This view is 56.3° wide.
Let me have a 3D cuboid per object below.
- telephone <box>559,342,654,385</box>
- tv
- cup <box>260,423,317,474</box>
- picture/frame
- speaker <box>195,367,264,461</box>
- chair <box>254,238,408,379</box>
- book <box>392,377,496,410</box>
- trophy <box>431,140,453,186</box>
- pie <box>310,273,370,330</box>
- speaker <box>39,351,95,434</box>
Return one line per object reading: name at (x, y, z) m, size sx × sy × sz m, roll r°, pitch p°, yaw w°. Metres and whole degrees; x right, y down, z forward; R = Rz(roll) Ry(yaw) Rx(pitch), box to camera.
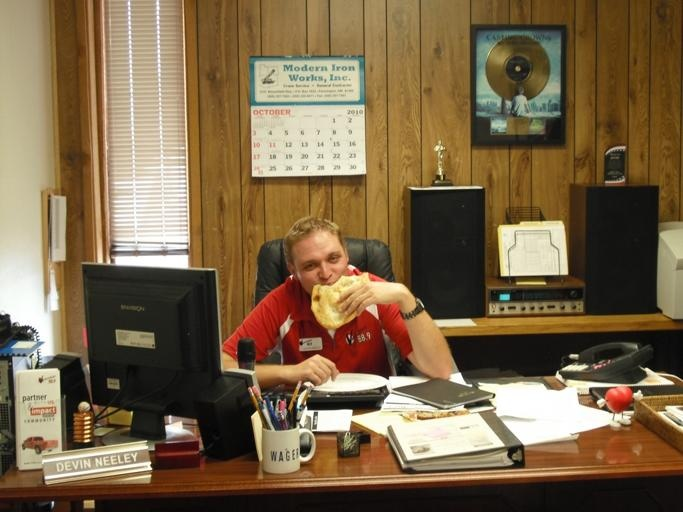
telephone at (1.029, 0.419, 2.507) m, size 0.248 × 0.121 × 0.203 m, roll -1°, pitch 1°, yaw 20°
tv at (-0.639, 0.350, 2.170) m, size 0.497 × 0.629 × 0.224 m, roll 3°, pitch 9°, yaw 10°
cup at (-0.168, 0.601, 1.989) m, size 0.164 × 0.124 × 0.110 m, roll 1°, pitch -1°, yaw -9°
picture/frame at (1.031, -1.053, 3.805) m, size 0.630 × 0.861 × 0.060 m, roll -1°, pitch 7°, yaw -1°
speaker at (-0.347, 0.518, 2.102) m, size 0.147 × 0.276 × 0.256 m, roll 2°, pitch 9°, yaw 29°
chair at (-0.098, 0.266, 3.281) m, size 0.563 × 0.855 × 0.694 m, roll -2°, pitch -12°, yaw -7°
book at (0.367, 0.487, 2.392) m, size 0.379 × 0.058 × 0.537 m, roll -4°, pitch -5°, yaw -15°
trophy at (0.581, -0.548, 3.738) m, size 0.109 × 0.268 × 0.226 m, roll -3°, pitch 6°, yaw 11°
pie at (-0.003, 0.183, 2.577) m, size 0.238 × 0.199 × 0.155 m, roll -5°, pitch 6°, yaw -2°
speaker at (-0.912, 0.465, 2.129) m, size 0.078 × 0.226 × 0.198 m, roll -2°, pitch 20°, yaw 17°
